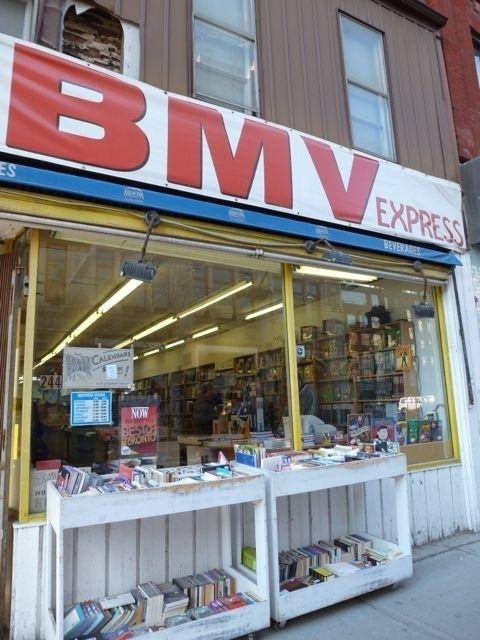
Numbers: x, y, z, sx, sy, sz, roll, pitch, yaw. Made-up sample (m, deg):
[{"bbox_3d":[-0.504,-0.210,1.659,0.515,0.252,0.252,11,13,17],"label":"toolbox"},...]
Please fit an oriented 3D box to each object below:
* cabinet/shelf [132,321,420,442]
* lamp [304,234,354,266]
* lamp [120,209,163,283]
[{"bbox_3d":[0.584,0.554,4.767,1.483,0.680,1.490,1,-5,-34],"label":"cabinet/shelf"},{"bbox_3d":[0.720,-0.549,4.210,0.258,0.111,0.259,30,11,31],"label":"lamp"},{"bbox_3d":[-0.645,-0.456,3.446,0.252,0.518,0.517,-3,-11,-9],"label":"lamp"}]
